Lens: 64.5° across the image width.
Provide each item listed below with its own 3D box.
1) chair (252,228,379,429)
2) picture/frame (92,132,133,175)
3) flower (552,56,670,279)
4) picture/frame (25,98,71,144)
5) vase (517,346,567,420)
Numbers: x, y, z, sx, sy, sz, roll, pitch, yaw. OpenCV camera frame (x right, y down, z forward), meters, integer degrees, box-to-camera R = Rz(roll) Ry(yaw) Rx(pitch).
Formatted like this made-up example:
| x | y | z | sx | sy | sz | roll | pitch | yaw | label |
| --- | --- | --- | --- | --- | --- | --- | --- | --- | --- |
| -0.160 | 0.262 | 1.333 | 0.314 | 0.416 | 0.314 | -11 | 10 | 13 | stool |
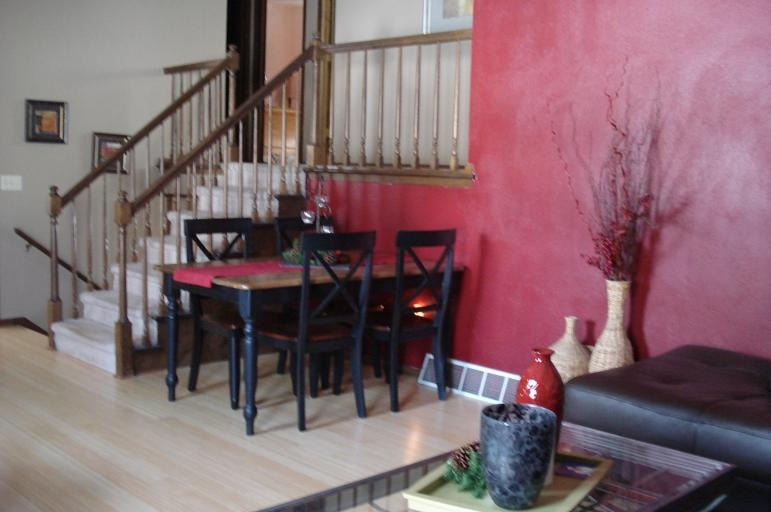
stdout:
| x | y | z | sx | sy | sz | roll | pitch | yaw | label |
| --- | --- | --- | --- | --- | --- | --- | --- | --- | --- |
| -0.541 | 0.484 | 4.234 | 0.735 | 1.259 | 0.810 | 1 | 1 | -33 | chair |
| -2.888 | -1.101 | 6.565 | 0.398 | 0.447 | 0.390 | 12 | 16 | 42 | picture/frame |
| 1.473 | -0.579 | 4.023 | 0.426 | 1.398 | 0.696 | -3 | 13 | -19 | flower |
| -3.477 | -1.396 | 6.268 | 0.496 | 0.545 | 0.061 | -3 | 10 | -45 | picture/frame |
| 0.619 | 0.511 | 2.433 | 0.171 | 0.254 | 0.208 | 10 | 15 | 34 | vase |
